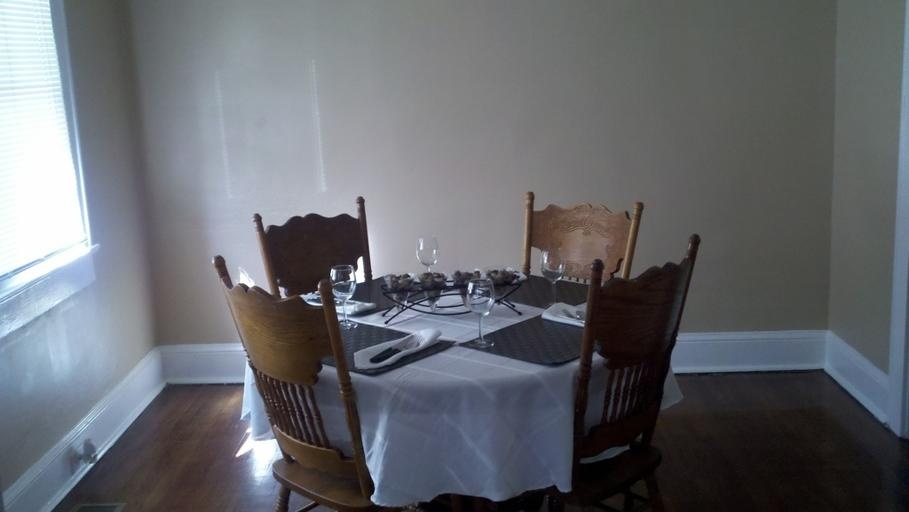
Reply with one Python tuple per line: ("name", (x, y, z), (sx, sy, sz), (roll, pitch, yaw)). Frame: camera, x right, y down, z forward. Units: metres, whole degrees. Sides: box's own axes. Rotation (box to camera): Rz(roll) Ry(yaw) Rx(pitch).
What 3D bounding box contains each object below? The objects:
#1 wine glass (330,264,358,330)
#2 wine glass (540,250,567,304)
("wine glass", (-0.612, 0.207, 3.250), (0.119, 0.327, 0.315), (-4, 16, -10))
("wine glass", (0.582, 0.100, 3.448), (0.124, 0.296, 0.321), (2, 16, 10))
